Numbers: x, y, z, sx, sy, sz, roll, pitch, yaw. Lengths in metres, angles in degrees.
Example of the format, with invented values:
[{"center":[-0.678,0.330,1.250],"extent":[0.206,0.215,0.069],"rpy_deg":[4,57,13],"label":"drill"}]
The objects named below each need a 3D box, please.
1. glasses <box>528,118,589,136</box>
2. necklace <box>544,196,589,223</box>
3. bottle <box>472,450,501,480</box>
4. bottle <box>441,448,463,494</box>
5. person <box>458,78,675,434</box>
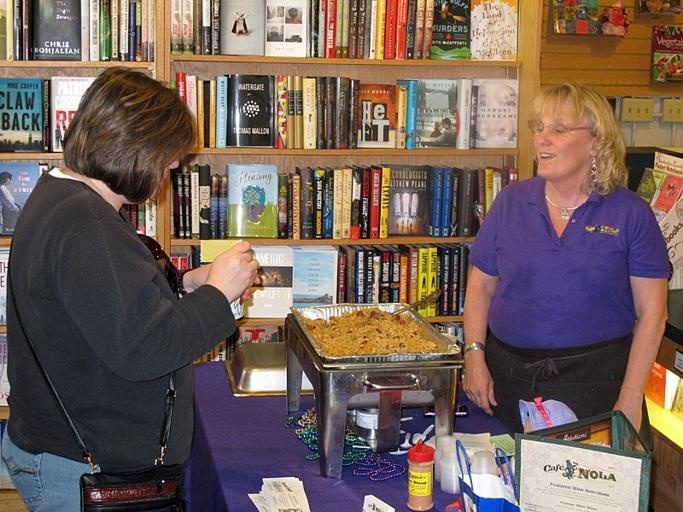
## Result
[{"center":[0.741,-0.431,2.282],"extent":[0.097,0.028,0.092],"rpy_deg":[3,2,-16],"label":"glasses"},{"center":[0.765,-0.162,2.366],"extent":[0.082,0.083,0.032],"rpy_deg":[-3,-34,20],"label":"necklace"},{"center":[0.332,0.481,1.565],"extent":[0.055,0.055,0.058],"rpy_deg":[0,-2,-8],"label":"bottle"},{"center":[0.285,0.562,1.782],"extent":[0.057,0.123,0.039],"rpy_deg":[4,15,11],"label":"bottle"},{"center":[0.761,0.012,2.294],"extent":[0.647,1.151,0.464],"rpy_deg":[4,15,10],"label":"person"}]
